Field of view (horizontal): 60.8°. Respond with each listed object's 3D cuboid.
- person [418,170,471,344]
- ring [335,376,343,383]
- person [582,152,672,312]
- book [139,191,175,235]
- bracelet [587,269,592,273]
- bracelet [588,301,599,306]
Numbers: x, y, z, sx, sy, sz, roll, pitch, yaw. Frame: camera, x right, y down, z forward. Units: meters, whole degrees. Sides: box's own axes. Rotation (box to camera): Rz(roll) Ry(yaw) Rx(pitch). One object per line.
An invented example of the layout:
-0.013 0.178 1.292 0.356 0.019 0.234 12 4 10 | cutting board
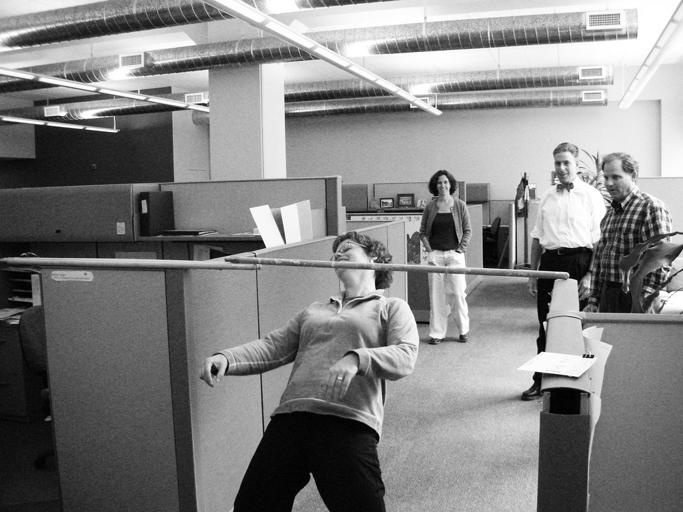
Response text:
0.947 0.009 5.260 0.448 1.564 0.584 -2 7 10 | person
-0.006 0.400 1.892 0.025 0.018 0.010 -4 7 -5 | ring
1.421 -0.100 2.870 0.387 0.824 0.965 0 8 23 | person
-1.480 -0.284 4.570 0.119 0.351 0.365 -11 8 18 | book
1.541 0.090 3.604 0.028 0.028 0.029 -3 10 -2 | bracelet
1.313 0.241 3.025 0.035 0.027 0.035 -1 0 -13 | bracelet
